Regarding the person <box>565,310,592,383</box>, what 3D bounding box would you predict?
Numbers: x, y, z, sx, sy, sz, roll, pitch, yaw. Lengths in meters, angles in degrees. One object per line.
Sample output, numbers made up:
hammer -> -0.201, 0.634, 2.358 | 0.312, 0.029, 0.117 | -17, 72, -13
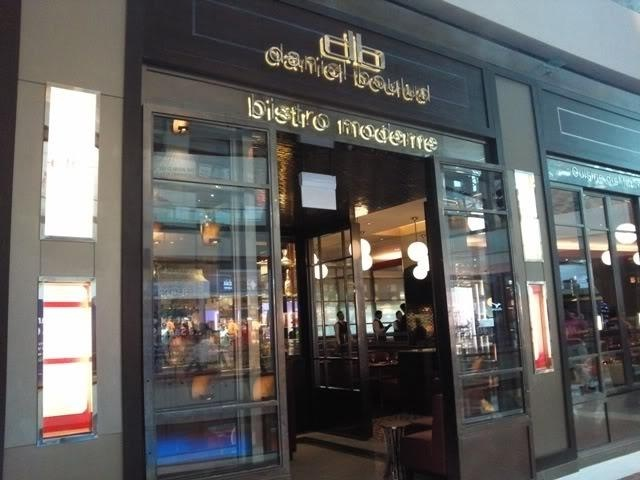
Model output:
person -> 3.334, 1.394, 7.241 | 0.121, 0.969, 0.535 | -11, -12, 42
